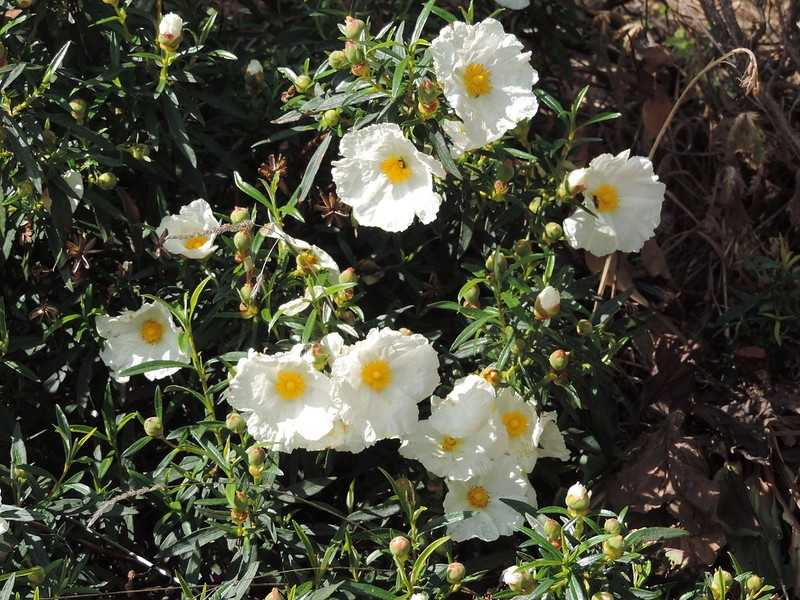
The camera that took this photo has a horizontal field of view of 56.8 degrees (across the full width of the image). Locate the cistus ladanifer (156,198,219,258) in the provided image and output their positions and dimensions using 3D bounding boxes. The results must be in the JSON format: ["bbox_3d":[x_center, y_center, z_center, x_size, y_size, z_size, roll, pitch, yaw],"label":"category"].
[{"bbox_3d":[-0.779,-0.259,2.715,0.247,0.264,0.115,-5,-11,22],"label":"cistus ladanifer"}]

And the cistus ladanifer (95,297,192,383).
[{"bbox_3d":[-0.958,0.140,2.765,0.292,0.356,0.117,-1,1,32],"label":"cistus ladanifer"}]

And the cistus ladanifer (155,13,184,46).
[{"bbox_3d":[-0.840,-0.999,2.729,0.091,0.102,0.138,-14,24,-15],"label":"cistus ladanifer"}]
